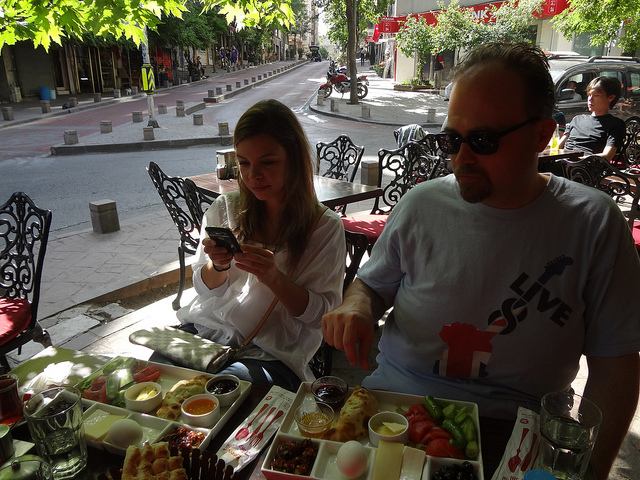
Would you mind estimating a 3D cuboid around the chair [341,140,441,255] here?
[{"bbox_3d":[1.359,-0.728,6.747,1.546,2.292,1.325,-12,23,-32],"label":"chair"}]

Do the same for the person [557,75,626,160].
[{"bbox_3d":[5.297,-2.310,7.491,1.160,1.661,1.158,-23,30,-24],"label":"person"}]

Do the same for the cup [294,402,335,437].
[{"bbox_3d":[-0.031,0.766,1.650,0.219,0.108,0.225,4,-21,1],"label":"cup"}]

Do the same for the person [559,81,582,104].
[{"bbox_3d":[7.962,-4.674,12.030,0.356,0.609,0.734,3,13,2],"label":"person"}]

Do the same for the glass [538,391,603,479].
[{"bbox_3d":[0.902,0.707,1.386,0.195,0.244,0.188,3,20,12],"label":"glass"}]

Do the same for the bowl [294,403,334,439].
[{"bbox_3d":[-0.022,0.742,1.572,0.150,0.052,0.166,-19,26,-41],"label":"bowl"}]

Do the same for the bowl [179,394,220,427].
[{"bbox_3d":[-0.520,0.750,1.685,0.141,0.051,0.138,5,11,-1],"label":"bowl"}]

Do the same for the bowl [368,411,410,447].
[{"bbox_3d":[0.287,0.755,1.496,0.169,0.071,0.153,-8,6,1],"label":"bowl"}]

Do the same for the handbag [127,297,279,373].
[{"bbox_3d":[-0.789,0.612,2.512,0.706,0.256,0.621,10,23,29],"label":"handbag"}]
